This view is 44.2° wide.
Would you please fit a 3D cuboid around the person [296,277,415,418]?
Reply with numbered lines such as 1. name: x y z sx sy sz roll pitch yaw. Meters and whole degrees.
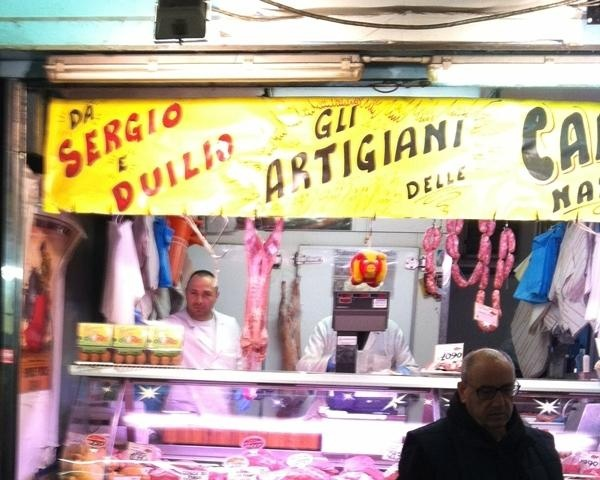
1. person: 0.444 0.823 5.439 0.866 0.571 1.091 -1 36 8

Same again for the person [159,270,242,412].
1. person: -0.721 0.786 5.533 0.716 1.447 0.605 -2 -36 -6
